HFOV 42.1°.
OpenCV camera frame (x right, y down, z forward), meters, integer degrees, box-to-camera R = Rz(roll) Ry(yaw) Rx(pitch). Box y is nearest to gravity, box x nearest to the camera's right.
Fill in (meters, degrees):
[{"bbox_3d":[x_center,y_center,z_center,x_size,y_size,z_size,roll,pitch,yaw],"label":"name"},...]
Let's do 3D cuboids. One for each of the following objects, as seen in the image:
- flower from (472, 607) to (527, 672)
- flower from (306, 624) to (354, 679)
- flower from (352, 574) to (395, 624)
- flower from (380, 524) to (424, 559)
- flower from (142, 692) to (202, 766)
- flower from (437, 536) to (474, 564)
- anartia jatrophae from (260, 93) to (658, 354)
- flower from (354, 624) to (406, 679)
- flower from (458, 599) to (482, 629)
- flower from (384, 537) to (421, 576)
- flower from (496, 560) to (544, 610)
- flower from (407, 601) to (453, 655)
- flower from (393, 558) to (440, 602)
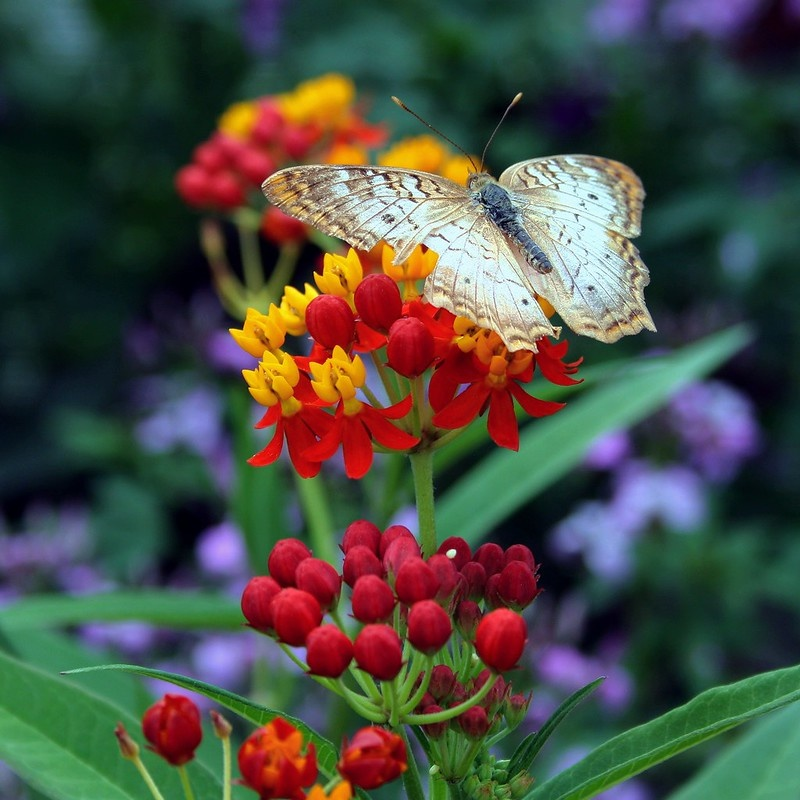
[{"bbox_3d":[0.152,0.359,1.549,0.093,0.095,0.081,-1,-17,13],"label":"flower"},{"bbox_3d":[-0.105,0.375,1.535,0.072,0.078,0.078,2,-1,-21],"label":"flower"},{"bbox_3d":[-0.041,0.310,1.586,0.067,0.076,0.063,3,22,0],"label":"flower"},{"bbox_3d":[0.000,0.222,1.721,0.061,0.069,0.055,-19,13,-42],"label":"flower"},{"bbox_3d":[-0.345,0.499,1.578,0.087,0.104,0.075,14,24,24],"label":"flower"},{"bbox_3d":[0.094,0.254,1.783,0.044,0.050,0.028,12,-27,-13],"label":"flower"},{"bbox_3d":[0.211,-0.280,1.897,0.545,0.272,0.728,21,28,37],"label":"anartia jatrophae"},{"bbox_3d":[-0.030,0.375,1.535,0.066,0.081,0.050,14,25,25],"label":"flower"},{"bbox_3d":[0.111,0.347,1.692,0.042,0.045,0.036,-11,-3,-12],"label":"flower"},{"bbox_3d":[0.001,0.252,1.683,0.059,0.069,0.056,17,-23,-17],"label":"flower"},{"bbox_3d":[0.200,0.304,1.741,0.073,0.085,0.074,2,22,-3],"label":"flower"},{"bbox_3d":[0.049,0.337,1.592,0.072,0.088,0.076,-4,11,18],"label":"flower"},{"bbox_3d":[0.027,0.281,1.605,0.050,0.065,0.047,-13,-18,-28],"label":"flower"}]
